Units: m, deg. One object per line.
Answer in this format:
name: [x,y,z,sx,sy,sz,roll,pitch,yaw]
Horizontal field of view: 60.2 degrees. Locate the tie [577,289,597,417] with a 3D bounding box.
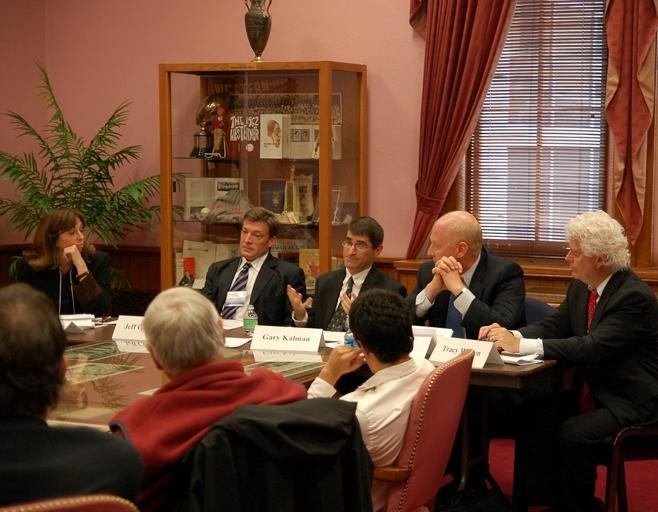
tie: [1.224,0.451,2.696,0.074,0.537,0.062,-1,10,6]

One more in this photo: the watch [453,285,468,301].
watch: [0.677,0.188,2.920,0.057,0.039,0.059,-35,5,7]

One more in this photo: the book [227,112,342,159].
book: [-0.441,-0.940,4.490,0.762,0.362,0.063,2,4,20]

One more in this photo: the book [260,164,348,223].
book: [-0.160,-0.482,4.382,0.456,0.448,0.187,2,6,19]

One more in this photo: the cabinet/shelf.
cabinet/shelf: [-0.450,-0.684,4.334,1.543,2.716,0.701,2,5,18]
